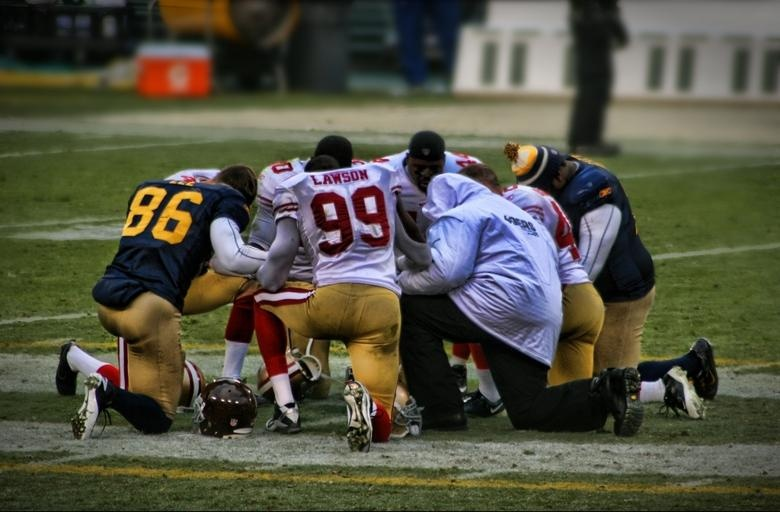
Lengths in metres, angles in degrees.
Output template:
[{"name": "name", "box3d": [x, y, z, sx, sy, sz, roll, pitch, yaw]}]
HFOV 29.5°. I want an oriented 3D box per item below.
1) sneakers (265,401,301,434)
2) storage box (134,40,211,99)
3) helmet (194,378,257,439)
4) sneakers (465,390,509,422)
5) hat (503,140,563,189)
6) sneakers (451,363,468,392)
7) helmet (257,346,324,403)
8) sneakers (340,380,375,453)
[{"name": "sneakers", "box3d": [-0.892, 1.375, 12.530, 0.156, 0.173, 0.404, -1, 2, -35]}, {"name": "storage box", "box3d": [-2.214, -1.981, 16.336, 1.065, 0.586, 1.014, 1, 7, -1]}, {"name": "helmet", "box3d": [-1.391, 1.262, 12.462, 0.531, 0.414, 0.393, 20, 43, 14]}, {"name": "sneakers", "box3d": [0.898, 1.330, 13.147, 0.453, 0.177, 0.158, 3, 0, -1]}, {"name": "hat", "box3d": [1.248, -0.834, 13.352, 0.483, 0.375, 0.465, 26, 1, -27]}, {"name": "sneakers", "box3d": [0.644, 1.102, 13.452, 0.109, 0.129, 0.298, -4, 44, -6]}, {"name": "helmet", "box3d": [-0.861, 1.061, 13.326, 0.573, 0.463, 0.406, -5, 12, 2]}, {"name": "sneakers", "box3d": [-0.264, 1.301, 12.111, 0.221, 0.565, 0.236, -3, 0, 8]}]
